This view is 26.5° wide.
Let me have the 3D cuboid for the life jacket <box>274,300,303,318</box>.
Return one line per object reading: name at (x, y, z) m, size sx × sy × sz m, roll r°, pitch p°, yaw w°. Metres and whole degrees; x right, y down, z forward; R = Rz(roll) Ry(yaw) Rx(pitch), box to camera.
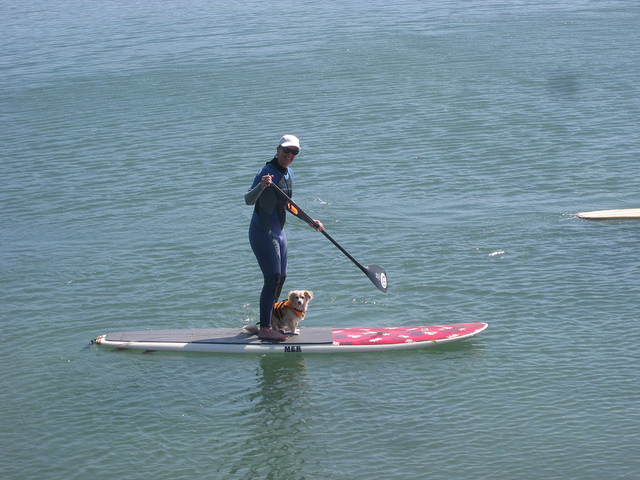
life jacket at (-0.805, 1.564, 30.864) m, size 0.395 × 0.623 × 0.160 m, roll -6°, pitch 88°, yaw -55°
